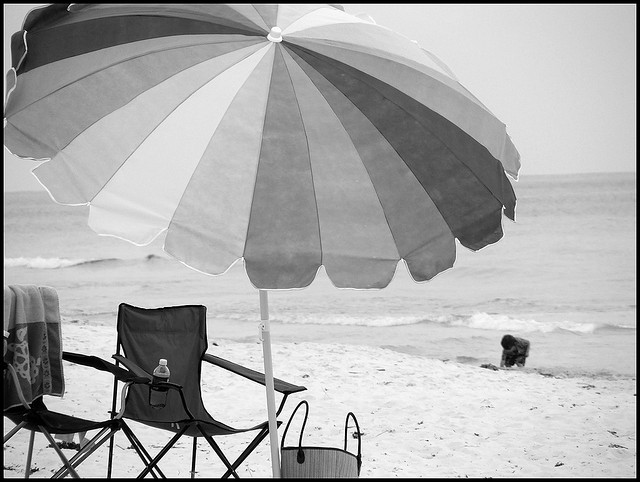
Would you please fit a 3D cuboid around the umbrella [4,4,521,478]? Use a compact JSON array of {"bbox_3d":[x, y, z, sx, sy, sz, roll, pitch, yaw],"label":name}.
[{"bbox_3d":[-0.826,-0.420,9.702,4.066,4.093,4.176,-12,-41,-24],"label":"umbrella"}]
